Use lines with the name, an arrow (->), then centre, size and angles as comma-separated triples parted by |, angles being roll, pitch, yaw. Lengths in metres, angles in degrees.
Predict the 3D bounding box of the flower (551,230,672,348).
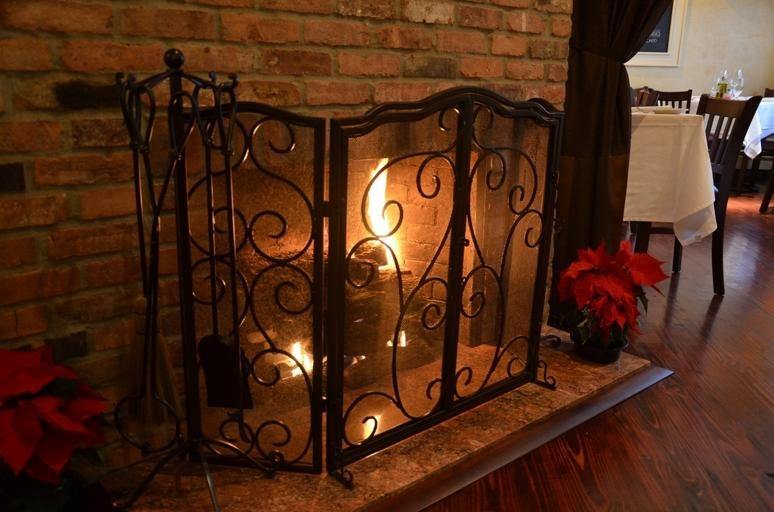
flower -> 0.832, 0.113, 2.385 | 0.438, 0.401, 0.433 | -7, 19, -17

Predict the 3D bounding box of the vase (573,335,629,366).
vase -> 0.863, 0.371, 2.345 | 0.131, 0.049, 0.130 | 4, 9, 34

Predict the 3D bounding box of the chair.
chair -> 2.093, -0.550, 3.793 | 0.468, 1.041, 2.405 | 11, 22, 29
